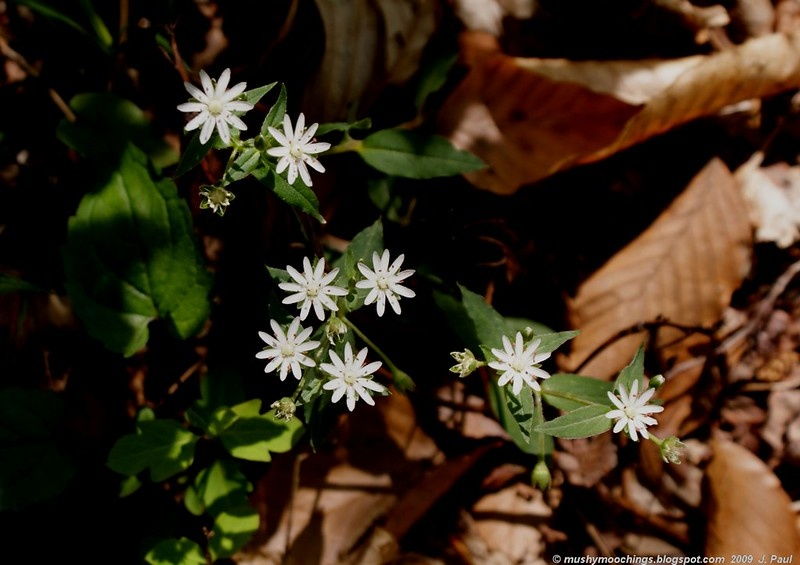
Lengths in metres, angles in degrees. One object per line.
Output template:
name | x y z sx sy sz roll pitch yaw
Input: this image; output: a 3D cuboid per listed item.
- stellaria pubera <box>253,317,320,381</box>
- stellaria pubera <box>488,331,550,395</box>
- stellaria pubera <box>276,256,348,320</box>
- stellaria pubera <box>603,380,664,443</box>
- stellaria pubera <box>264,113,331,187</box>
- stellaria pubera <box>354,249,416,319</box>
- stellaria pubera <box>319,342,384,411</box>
stellaria pubera | -0.538 0.325 3.729 0.283 0.099 0.348 -1 42 -6
stellaria pubera | 0.556 0.382 3.722 0.303 0.100 0.307 -3 10 -30
stellaria pubera | -0.409 0.024 3.735 0.309 0.310 0.186 -15 25 -8
stellaria pubera | 1.096 0.662 3.780 0.258 0.363 0.187 -17 25 -14
stellaria pubera | -0.454 -0.637 3.658 0.274 0.066 0.280 -31 67 -8
stellaria pubera | -0.070 -0.009 3.756 0.290 0.332 0.075 -9 51 8
stellaria pubera | -0.237 0.427 3.715 0.309 0.101 0.354 13 25 -6
